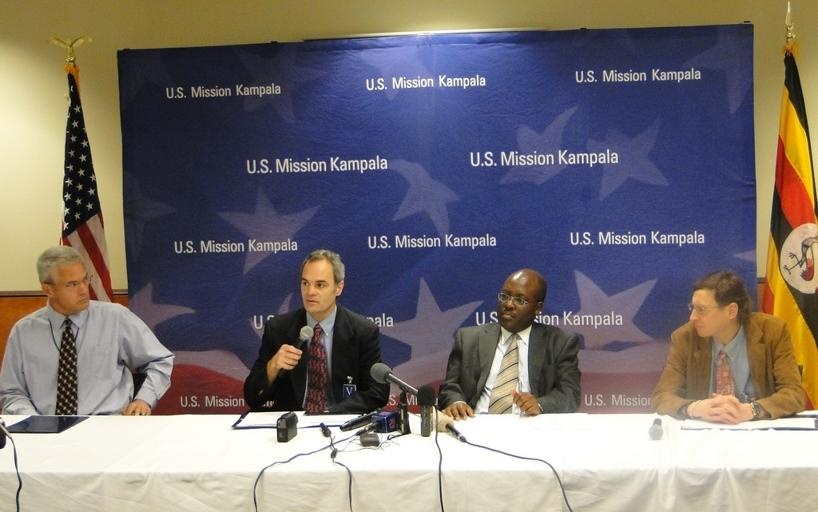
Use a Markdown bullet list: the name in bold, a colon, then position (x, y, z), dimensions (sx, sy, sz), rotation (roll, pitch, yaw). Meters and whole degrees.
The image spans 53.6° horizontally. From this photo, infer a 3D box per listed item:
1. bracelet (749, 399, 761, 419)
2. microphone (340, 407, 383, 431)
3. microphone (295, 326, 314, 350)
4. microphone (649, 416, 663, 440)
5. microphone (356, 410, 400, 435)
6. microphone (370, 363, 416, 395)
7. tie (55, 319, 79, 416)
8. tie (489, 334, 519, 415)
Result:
- **bracelet**: position (2.276, 1.015, 5.304), dimensions (0.067, 0.097, 0.094), rotation (-2, 12, -16)
- **microphone**: position (-0.316, 1.066, 5.327), dimensions (0.390, 0.095, 0.083), rotation (-10, 39, -36)
- **microphone**: position (-0.729, 0.582, 5.686), dimensions (0.096, 0.201, 0.502), rotation (-3, 3, -7)
- **microphone**: position (1.578, 1.100, 5.139), dimensions (0.060, 0.062, 0.175), rotation (-4, 19, 18)
- **microphone**: position (-0.155, 1.078, 5.216), dimensions (0.114, 0.088, 0.203), rotation (-3, -5, 35)
- **microphone**: position (-0.107, 0.793, 5.204), dimensions (0.182, 0.173, 0.358), rotation (-5, 3, -34)
- **tie**: position (-2.477, 0.798, 5.831), dimensions (0.165, 0.668, 0.157), rotation (-4, 4, -13)
- **tie**: position (0.686, 0.848, 5.833), dimensions (0.199, 0.535, 0.254), rotation (-1, 4, 23)
